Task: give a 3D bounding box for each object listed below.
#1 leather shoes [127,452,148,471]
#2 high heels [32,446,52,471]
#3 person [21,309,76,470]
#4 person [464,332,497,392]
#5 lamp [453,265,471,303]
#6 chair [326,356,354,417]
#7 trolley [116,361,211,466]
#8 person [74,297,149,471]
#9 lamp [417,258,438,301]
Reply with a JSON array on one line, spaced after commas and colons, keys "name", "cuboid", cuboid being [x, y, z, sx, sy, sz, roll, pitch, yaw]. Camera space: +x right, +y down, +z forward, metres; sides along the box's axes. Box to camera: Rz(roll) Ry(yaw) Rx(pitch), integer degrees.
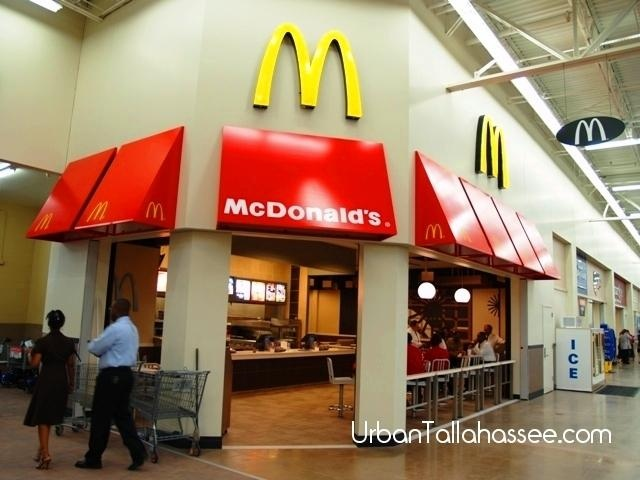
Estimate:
[{"name": "leather shoes", "cuboid": [-2.103, 2.547, 5.501, 0.327, 0.152, 0.112, -38, -31, 31]}, {"name": "high heels", "cuboid": [-3.204, 2.497, 5.462, 0.354, 0.148, 0.123, -4, -13, 33]}, {"name": "person", "cuboid": [-3.197, 1.722, 5.646, 0.482, 1.759, 0.471, 6, -8, -28]}, {"name": "person", "cuboid": [3.796, 2.865, 11.107, 0.504, 1.444, 0.565, -2, 1, -20]}, {"name": "lamp", "cuboid": [3.823, 1.212, 12.737, 0.385, 0.885, 1.325, 1, -7, 16]}, {"name": "chair", "cuboid": [0.400, 2.740, 8.858, 0.434, 0.992, 0.431, -3, -13, 18]}, {"name": "trolley", "cuboid": [-2.248, 2.156, 6.195, 0.754, 1.314, 1.450, 11, -13, -36]}, {"name": "person", "cuboid": [-2.398, 1.674, 5.625, 0.721, 1.938, 0.407, 6, -8, -27]}, {"name": "lamp", "cuboid": [2.739, 1.024, 12.205, 0.401, 0.959, 0.422, -5, 7, -33]}]
